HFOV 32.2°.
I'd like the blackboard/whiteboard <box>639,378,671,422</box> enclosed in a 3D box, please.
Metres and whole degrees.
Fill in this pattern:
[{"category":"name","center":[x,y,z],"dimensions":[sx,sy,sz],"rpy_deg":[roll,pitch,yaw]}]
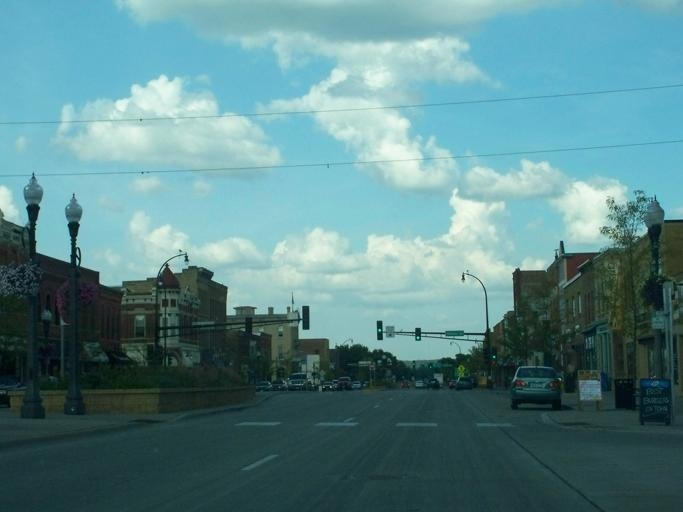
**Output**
[{"category":"blackboard/whiteboard","center":[10.909,5.057,41.099],"dimensions":[0.985,1.772,0.906],"rpy_deg":[0,-2,17]}]

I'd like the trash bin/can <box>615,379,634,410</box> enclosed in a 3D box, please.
[{"category":"trash bin/can","center":[11.437,5.563,47.764],"dimensions":[0.856,1.648,1.008],"rpy_deg":[-1,-7,15]}]

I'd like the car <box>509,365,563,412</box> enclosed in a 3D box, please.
[{"category":"car","center":[8.231,5.660,49.994],"dimensions":[2.341,2.656,5.638],"rpy_deg":[0,-2,7]}]
